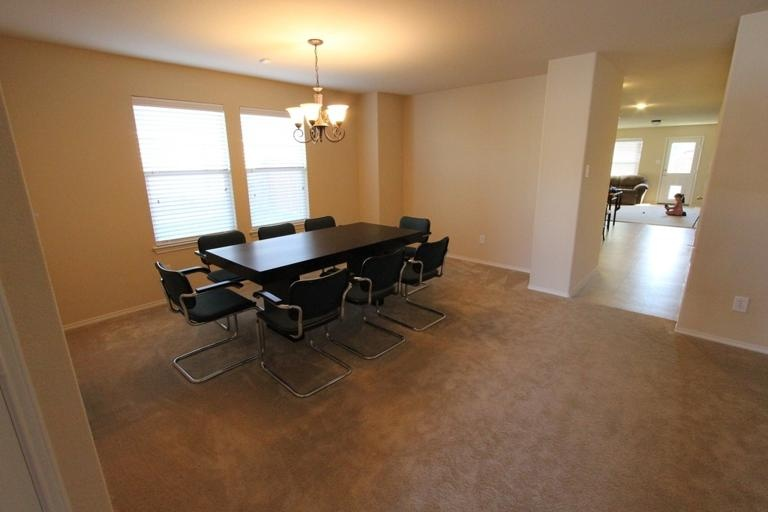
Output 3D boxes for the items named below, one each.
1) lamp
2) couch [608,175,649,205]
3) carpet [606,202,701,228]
[{"bbox_3d":[-0.727,-1.806,5.516,0.620,1.097,0.700,-2,9,3],"label":"lamp"},{"bbox_3d":[6.684,-1.794,13.839,0.931,0.754,1.252,7,17,26],"label":"couch"},{"bbox_3d":[6.358,-0.966,11.828,1.701,0.142,3.464,8,17,29],"label":"carpet"}]
